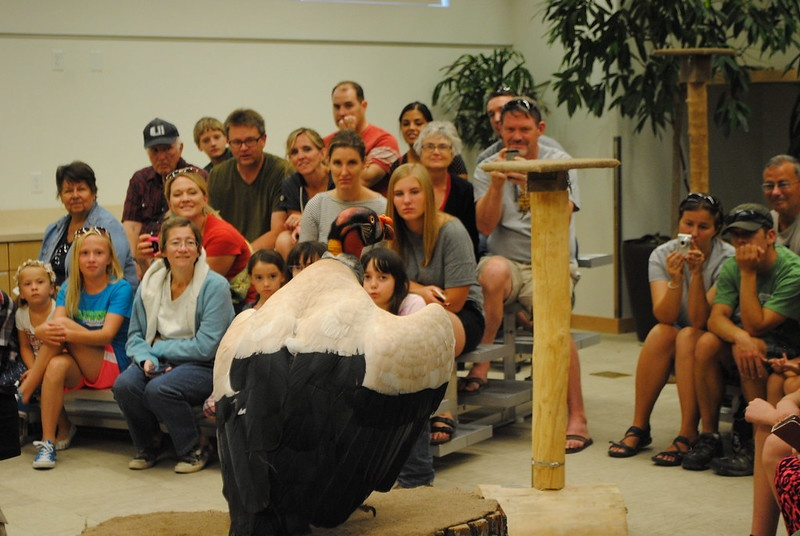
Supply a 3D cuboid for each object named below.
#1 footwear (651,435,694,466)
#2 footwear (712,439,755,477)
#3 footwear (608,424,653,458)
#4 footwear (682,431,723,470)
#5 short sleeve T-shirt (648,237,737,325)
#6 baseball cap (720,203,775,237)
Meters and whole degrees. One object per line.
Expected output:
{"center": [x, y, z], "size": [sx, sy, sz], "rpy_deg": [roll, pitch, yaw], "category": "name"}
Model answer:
{"center": [1.908, 1.276, 5.590], "size": [0.373, 0.161, 0.130], "rpy_deg": [-4, 3, -40], "category": "footwear"}
{"center": [2.353, 1.294, 5.452], "size": [0.426, 0.270, 0.157], "rpy_deg": [2, -16, -13], "category": "footwear"}
{"center": [1.676, 1.243, 5.770], "size": [0.155, 0.163, 0.373], "rpy_deg": [-4, -3, 43], "category": "footwear"}
{"center": [2.131, 1.260, 5.575], "size": [0.157, 0.218, 0.488], "rpy_deg": [-2, 3, 42], "category": "footwear"}
{"center": [2.129, 0.094, 5.852], "size": [0.490, 0.689, 0.245], "rpy_deg": [7, -1, 36], "category": "short sleeve T-shirt"}
{"center": [2.407, -0.329, 5.450], "size": [0.277, 0.150, 0.204], "rpy_deg": [3, -8, -40], "category": "baseball cap"}
